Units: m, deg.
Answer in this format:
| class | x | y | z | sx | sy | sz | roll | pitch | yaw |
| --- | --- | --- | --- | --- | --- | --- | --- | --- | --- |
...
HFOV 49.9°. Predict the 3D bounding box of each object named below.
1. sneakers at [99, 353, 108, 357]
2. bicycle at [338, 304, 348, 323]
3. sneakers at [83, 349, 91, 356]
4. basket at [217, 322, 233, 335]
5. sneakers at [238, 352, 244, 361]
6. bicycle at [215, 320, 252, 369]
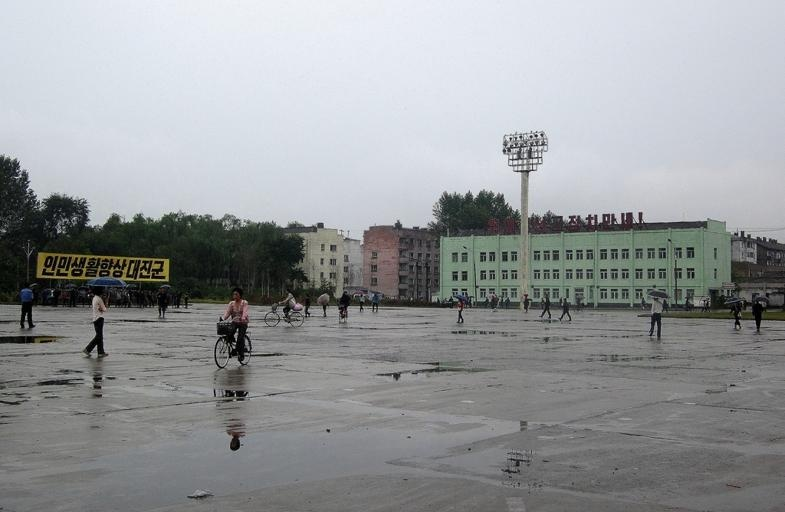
| class | x | y | z | sx | sy | sz | roll | pitch | yaw |
| --- | --- | --- | --- | --- | --- | --- | --- | --- | --- |
| sneakers | -8.883 | 3.046 | 25.880 | 0.318 | 0.134 | 0.115 | 0 | 3 | -1 |
| bicycle | -3.048 | 3.562 | 51.841 | 0.602 | 0.758 | 1.253 | -1 | -2 | 1 |
| sneakers | -9.391 | 2.969 | 25.930 | 0.101 | 0.236 | 0.078 | -35 | 24 | 1 |
| basket | -4.682 | 2.012 | 23.490 | 0.308 | 0.345 | 0.622 | -1 | -5 | 12 |
| sneakers | -4.298 | 2.858 | 23.860 | 0.221 | 0.250 | 0.220 | 0 | -6 | -17 |
| bicycle | -4.550 | 2.488 | 23.753 | 0.659 | 1.294 | 1.458 | -2 | -5 | 14 |
